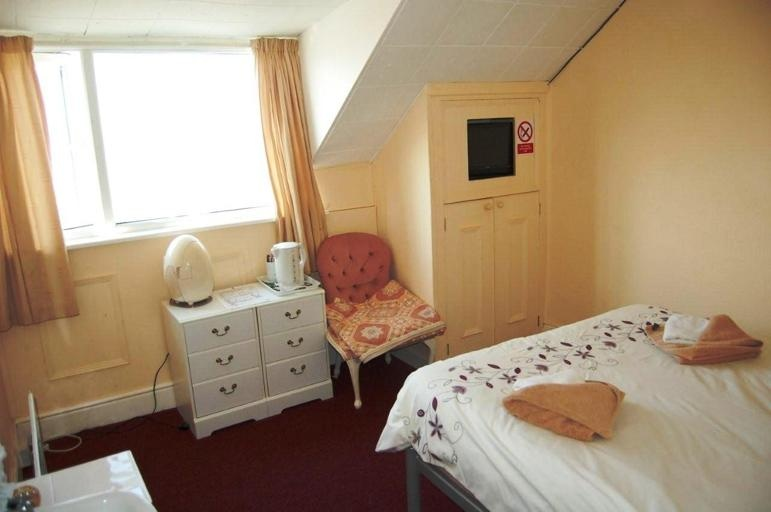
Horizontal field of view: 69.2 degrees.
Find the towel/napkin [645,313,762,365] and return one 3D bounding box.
[{"bbox_3d":[1.712,0.449,2.994,0.352,0.109,0.360,-1,8,-2],"label":"towel/napkin"}]

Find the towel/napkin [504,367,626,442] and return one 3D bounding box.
[{"bbox_3d":[0.848,0.702,2.630,0.334,0.099,0.332,2,12,31],"label":"towel/napkin"}]

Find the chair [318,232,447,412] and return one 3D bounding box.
[{"bbox_3d":[-0.117,0.451,4.187,0.848,0.969,0.935,-18,34,-32],"label":"chair"}]

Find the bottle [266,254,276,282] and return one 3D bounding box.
[{"bbox_3d":[-0.851,0.090,4.120,0.054,0.197,0.114,-7,13,-16],"label":"bottle"}]
